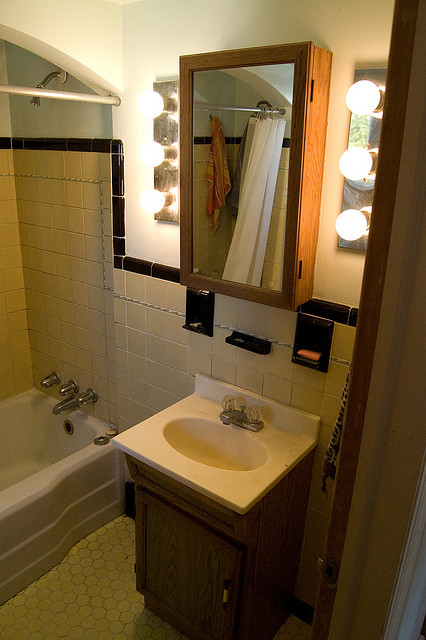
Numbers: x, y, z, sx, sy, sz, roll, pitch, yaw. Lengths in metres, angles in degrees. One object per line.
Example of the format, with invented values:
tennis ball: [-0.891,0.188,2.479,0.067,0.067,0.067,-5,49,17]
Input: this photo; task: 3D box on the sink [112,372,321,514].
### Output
sink: [0.019,0.465,1.696,0.603,0.262,0.538,18,24,32]

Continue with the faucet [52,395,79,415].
faucet: [-0.834,0.484,2.609,0.071,0.050,0.132,11,24,37]

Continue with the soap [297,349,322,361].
soap: [0.352,0.120,1.623,0.029,0.016,0.059,-23,28,-38]

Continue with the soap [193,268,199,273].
soap: [-0.062,-0.194,1.797,0.016,0.015,0.004,22,40,18]

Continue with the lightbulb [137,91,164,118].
lightbulb: [-0.233,-0.836,1.819,0.090,0.123,0.098,-1,8,8]

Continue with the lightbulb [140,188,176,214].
lightbulb: [-0.234,-0.482,1.961,0.167,0.121,0.105,-20,16,-34]

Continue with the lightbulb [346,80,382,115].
lightbulb: [0.420,-0.615,1.262,0.084,0.094,0.081,21,32,30]

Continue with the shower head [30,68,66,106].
shower head: [-0.810,-1.125,2.205,0.101,0.164,0.320,-12,26,-40]

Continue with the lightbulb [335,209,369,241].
lightbulb: [0.424,-0.290,1.386,0.083,0.100,0.080,11,12,29]
